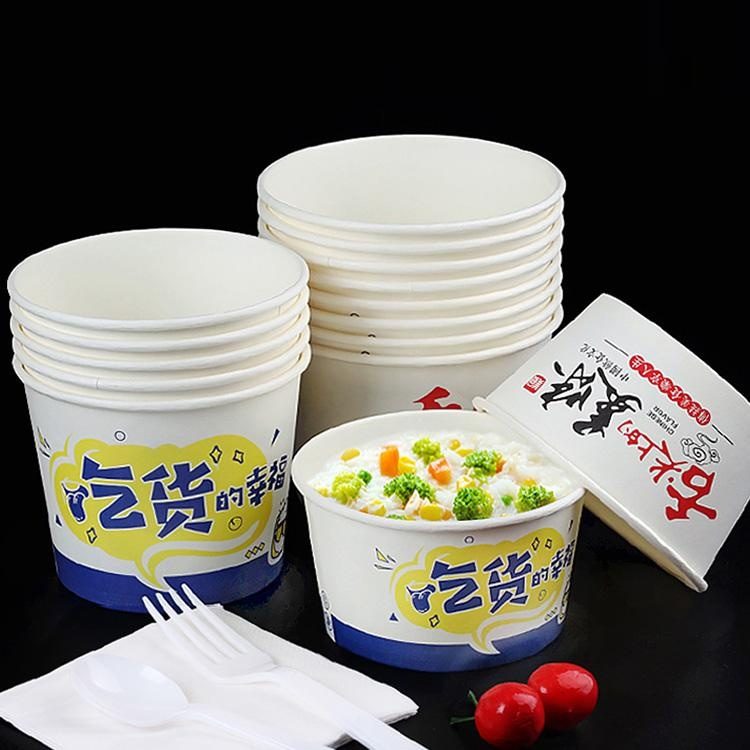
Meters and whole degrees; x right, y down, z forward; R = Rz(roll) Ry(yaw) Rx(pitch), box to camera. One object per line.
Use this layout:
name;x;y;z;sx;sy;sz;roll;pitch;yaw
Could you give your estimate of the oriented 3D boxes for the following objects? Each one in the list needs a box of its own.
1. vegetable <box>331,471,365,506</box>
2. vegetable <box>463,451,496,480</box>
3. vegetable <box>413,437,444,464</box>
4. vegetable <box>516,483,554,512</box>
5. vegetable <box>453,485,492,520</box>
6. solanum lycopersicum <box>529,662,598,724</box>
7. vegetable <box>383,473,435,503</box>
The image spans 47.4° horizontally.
vegetable;-0.039;0.166;1.266;0.052;0.016;0.043;18;53;24
vegetable;0.163;0.142;1.337;0.046;0.015;0.043;19;39;32
vegetable;0.083;0.121;1.366;0.048;0.017;0.037;9;64;6
vegetable;0.228;0.180;1.236;0.046;0.028;0.041;-2;27;-4
vegetable;0.135;0.183;1.206;0.051;0.041;0.048;-1;0;3
solanum lycopersicum;0.246;0.428;1.138;0.081;0.085;0.073;-11;36;-15
vegetable;0.051;0.169;1.261;0.056;0.022;0.050;-1;2;17
